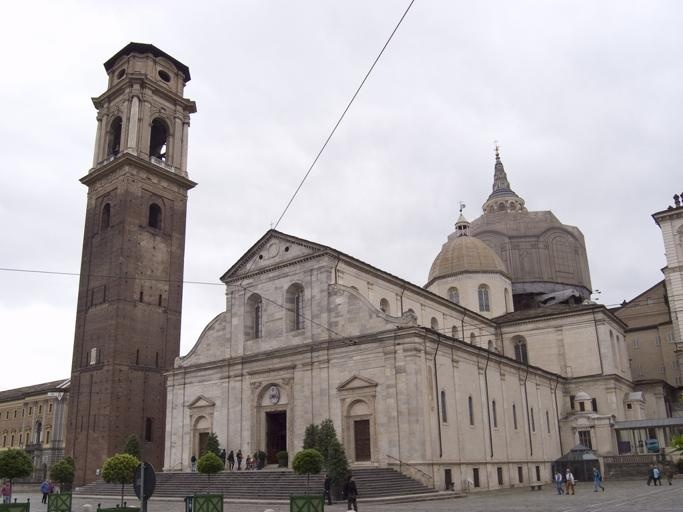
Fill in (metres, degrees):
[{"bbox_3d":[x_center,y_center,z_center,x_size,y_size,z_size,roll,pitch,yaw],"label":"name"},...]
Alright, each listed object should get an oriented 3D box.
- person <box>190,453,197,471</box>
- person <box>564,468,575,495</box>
[{"bbox_3d":[-11.544,16.062,52.794,0.465,1.337,1.743,2,-22,-12],"label":"person"},{"bbox_3d":[14.848,14.734,44.238,0.509,1.525,2.696,-8,-22,16],"label":"person"}]
